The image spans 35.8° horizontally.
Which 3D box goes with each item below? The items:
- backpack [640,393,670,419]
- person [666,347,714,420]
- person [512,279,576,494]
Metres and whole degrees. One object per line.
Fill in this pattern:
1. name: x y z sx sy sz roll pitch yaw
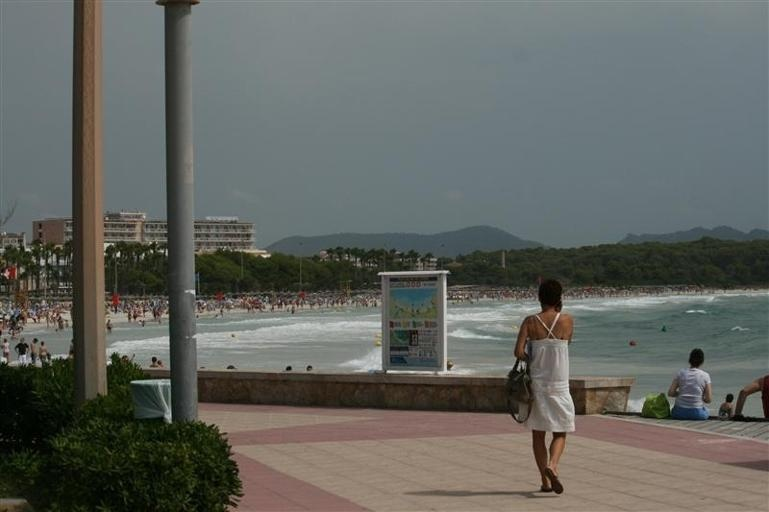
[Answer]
1. backpack: 4.221 2.359 18.611 0.445 0.451 0.321 -2 -3 18
2. person: 4.673 1.956 18.289 0.619 1.061 0.824 -2 -2 13
3. person: 2.005 1.611 14.827 0.685 2.644 0.410 -2 -2 7
